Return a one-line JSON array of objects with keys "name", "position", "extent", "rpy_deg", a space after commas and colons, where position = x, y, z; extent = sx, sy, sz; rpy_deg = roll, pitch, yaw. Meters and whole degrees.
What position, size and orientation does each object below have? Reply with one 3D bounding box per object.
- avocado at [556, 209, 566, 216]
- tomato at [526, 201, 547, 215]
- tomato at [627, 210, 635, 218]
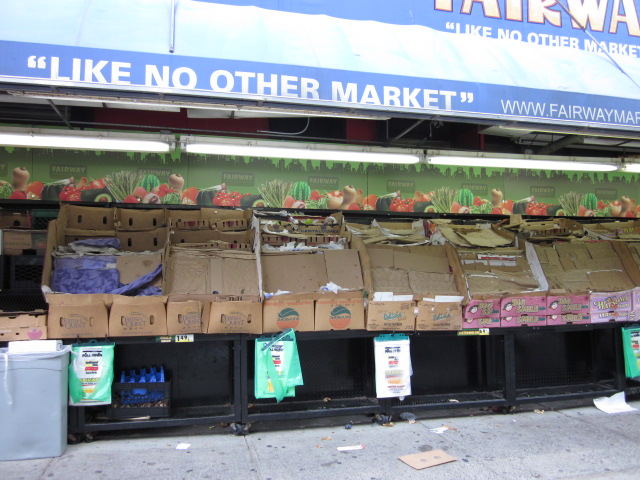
[{"name": "avocado", "position": [3.996, -0.460, 9.348], "extent": [0.125, 0.105, 0.094], "rpy_deg": [-11, -5, 32]}, {"name": "tomato", "position": [3.548, -0.515, 9.230], "extent": [0.273, 0.274, 0.285], "rpy_deg": [-1, -6, 23]}, {"name": "tomato", "position": [5.366, -0.453, 9.735], "extent": [0.122, 0.157, 0.120], "rpy_deg": [4, 10, 20]}]
